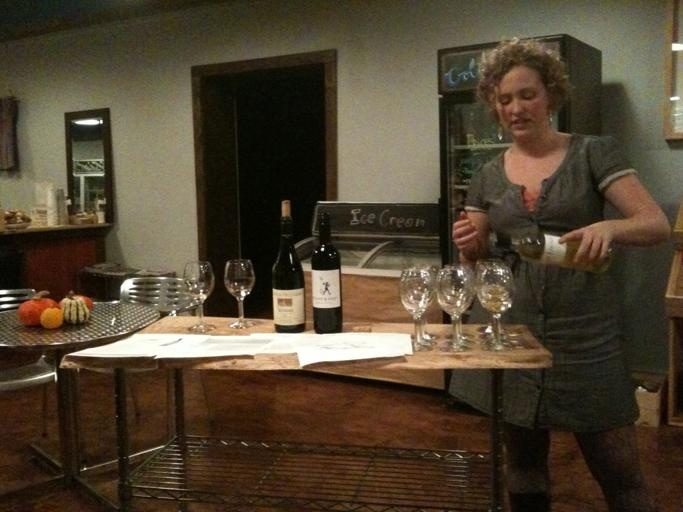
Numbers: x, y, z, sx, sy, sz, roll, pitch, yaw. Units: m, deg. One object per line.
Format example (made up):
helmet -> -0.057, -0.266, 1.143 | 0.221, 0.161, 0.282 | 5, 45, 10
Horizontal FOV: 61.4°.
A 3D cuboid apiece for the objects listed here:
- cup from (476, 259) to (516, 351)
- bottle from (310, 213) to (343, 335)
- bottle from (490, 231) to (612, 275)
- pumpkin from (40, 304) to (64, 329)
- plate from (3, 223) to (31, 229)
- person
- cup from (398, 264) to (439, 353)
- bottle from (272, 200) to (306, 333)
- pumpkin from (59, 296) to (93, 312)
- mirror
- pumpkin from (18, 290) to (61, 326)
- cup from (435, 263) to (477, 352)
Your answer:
cup -> 0.485, 0.142, 1.831 | 0.111, 0.264, 0.241 | -1, 3, 13
bottle -> -0.055, 0.059, 1.931 | 0.099, 0.399, 0.194 | -2, 3, -2
bottle -> 0.689, -0.027, 1.897 | 0.415, 0.118, 0.120 | 10, -32, -5
pumpkin -> -1.287, 0.271, 2.567 | 0.097, 0.094, 0.097 | 0, -11, -24
plate -> -2.915, -0.265, 5.188 | 0.104, 0.055, 0.261 | -1, 3, 16
person -> 0.703, 0.091, 1.960 | 0.709, 1.684, 0.394 | 0, 4, 28
cup -> 0.249, 0.156, 1.854 | 0.106, 0.246, 0.198 | -1, 3, 13
bottle -> -0.181, 0.089, 1.938 | 0.101, 0.343, 0.086 | -3, 3, -7
pumpkin -> -1.256, 0.233, 2.727 | 0.117, 0.104, 0.115 | -6, 16, -41
mirror -> -2.645, -0.935, 6.027 | 0.732, 1.193, 0.119 | 0, 4, 35
pumpkin -> -1.383, 0.245, 2.687 | 0.190, 0.160, 0.188 | 2, 1, -44
cup -> 0.369, 0.151, 1.830 | 0.118, 0.253, 0.228 | -1, 3, 26
